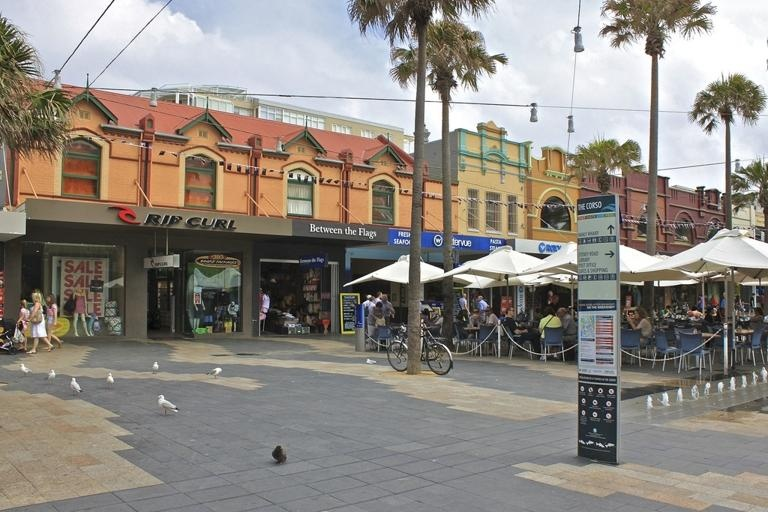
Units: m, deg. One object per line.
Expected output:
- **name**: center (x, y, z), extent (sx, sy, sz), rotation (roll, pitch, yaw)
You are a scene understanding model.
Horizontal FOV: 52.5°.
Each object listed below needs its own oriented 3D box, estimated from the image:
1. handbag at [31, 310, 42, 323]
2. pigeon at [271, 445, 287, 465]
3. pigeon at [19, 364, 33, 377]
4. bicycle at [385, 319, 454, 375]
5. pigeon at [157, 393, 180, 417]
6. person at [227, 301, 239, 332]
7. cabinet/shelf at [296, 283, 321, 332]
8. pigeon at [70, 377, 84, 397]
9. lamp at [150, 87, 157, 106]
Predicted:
- **handbag**: center (-11.009, 1.916, 24.654), extent (0.425, 0.367, 0.217), rotation (3, -6, -35)
- **pigeon**: center (-1.913, 3.619, 14.215), extent (0.283, 0.318, 0.333), rotation (-1, -5, 5)
- **pigeon**: center (-9.339, 2.992, 20.286), extent (0.272, 0.307, 0.476), rotation (-2, -15, 10)
- **bicycle**: center (0.972, 2.707, 22.957), extent (1.615, 1.420, 3.720), rotation (0, -5, -2)
- **pigeon**: center (-4.586, 3.156, 16.442), extent (0.288, 0.461, 0.769), rotation (5, -7, -43)
- **person**: center (-6.193, 2.485, 32.253), extent (0.492, 1.277, 0.148), rotation (5, -7, -43)
- **cabinet/shelf**: center (-3.150, 2.025, 35.105), extent (0.776, 3.208, 1.052), rotation (1, 40, -2)
- **pigeon**: center (-7.195, 3.092, 18.248), extent (0.297, 0.400, 0.629), rotation (5, -10, -36)
- **lamp**: center (-9.436, -6.484, 31.917), extent (0.268, 0.844, 0.929), rotation (1, -6, -17)
